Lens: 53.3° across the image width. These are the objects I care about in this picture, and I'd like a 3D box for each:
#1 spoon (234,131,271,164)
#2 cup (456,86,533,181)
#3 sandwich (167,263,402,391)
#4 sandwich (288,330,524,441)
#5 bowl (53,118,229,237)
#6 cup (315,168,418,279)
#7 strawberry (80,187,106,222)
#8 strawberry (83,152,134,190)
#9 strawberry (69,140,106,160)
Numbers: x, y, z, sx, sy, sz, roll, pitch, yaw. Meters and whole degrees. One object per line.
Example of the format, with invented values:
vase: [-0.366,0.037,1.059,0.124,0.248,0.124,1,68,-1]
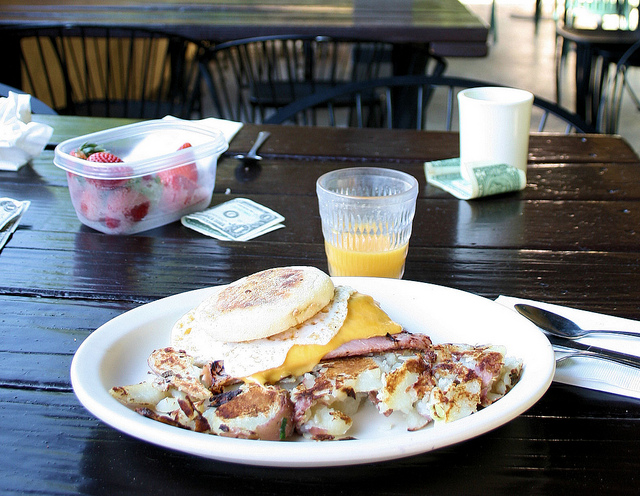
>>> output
spoon: [-0.136,-0.216,1.356,0.039,0.016,0.112,4,26,7]
cup: [0.329,-0.224,1.206,0.141,0.144,0.122,-8,31,-6]
sandwich: [-0.044,0.045,0.670,0.165,0.043,0.161,-20,28,-33]
sandwich: [0.093,0.136,0.661,0.249,0.050,0.116,-2,31,-3]
bowl: [-0.301,-0.120,1.093,0.198,0.129,0.273,21,32,35]
cup: [0.081,-0.046,0.934,0.158,0.168,0.151,-1,28,0]
strawberry: [-0.357,-0.070,1.002,0.048,0.034,0.052,7,11,-20]
strawberry: [-0.335,-0.124,1.004,0.073,0.041,0.085,-12,33,-19]
strawberry: [-0.383,-0.160,1.035,0.041,0.016,0.039,10,24,34]
